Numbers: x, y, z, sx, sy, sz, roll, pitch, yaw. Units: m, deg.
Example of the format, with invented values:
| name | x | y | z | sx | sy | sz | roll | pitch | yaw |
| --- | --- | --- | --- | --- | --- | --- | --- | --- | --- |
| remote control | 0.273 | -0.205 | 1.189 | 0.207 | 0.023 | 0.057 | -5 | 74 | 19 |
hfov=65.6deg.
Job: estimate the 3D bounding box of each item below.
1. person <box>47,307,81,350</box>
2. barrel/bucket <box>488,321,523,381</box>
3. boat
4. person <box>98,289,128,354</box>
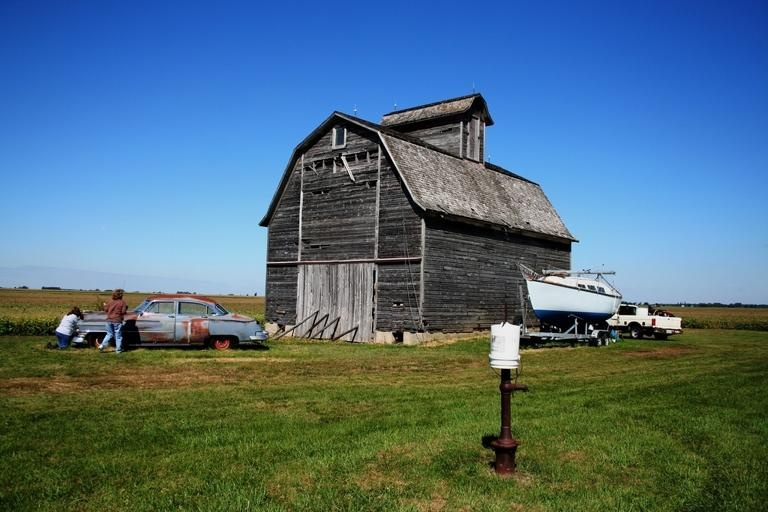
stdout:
| name | x | y | z | sx | sy | sz | roll | pitch | yaw |
| --- | --- | --- | --- | --- | --- | --- | --- | --- | --- |
| person | -10.491 | 2.399 | 19.872 | 0.732 | 1.274 | 0.549 | 0 | 1 | -26 |
| barrel/bucket | 2.114 | 1.578 | 10.421 | 0.487 | 0.883 | 0.435 | 1 | 1 | 6 |
| boat | 9.226 | 2.033 | 29.222 | 7.752 | 2.658 | 2.458 | 7 | -7 | -39 |
| person | -8.757 | 2.067 | 19.279 | 0.785 | 1.932 | 1.419 | 0 | 1 | -22 |
